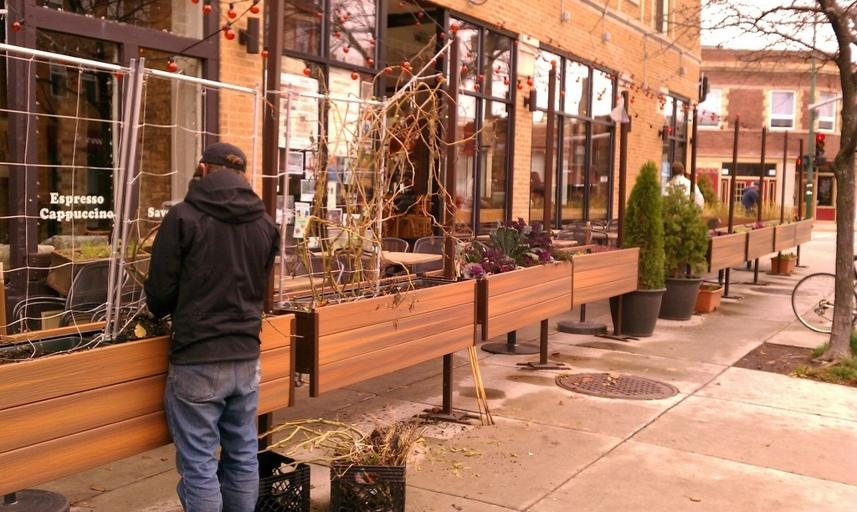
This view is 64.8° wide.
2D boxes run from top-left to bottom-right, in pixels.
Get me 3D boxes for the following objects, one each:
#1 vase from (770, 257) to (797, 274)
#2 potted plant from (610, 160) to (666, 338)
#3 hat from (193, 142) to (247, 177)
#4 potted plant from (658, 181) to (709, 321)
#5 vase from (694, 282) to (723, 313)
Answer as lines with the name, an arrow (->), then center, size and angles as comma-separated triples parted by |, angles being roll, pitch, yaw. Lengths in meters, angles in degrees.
vase -> 8.806, 0.208, 16.754 | 0.405, 0.269, 0.646 | 0, 0, 36
potted plant -> 3.158, -0.117, 10.027 | 0.726, 2.537, 1.040 | 5, 12, 20
hat -> -1.450, -0.656, 4.689 | 0.315, 0.171, 0.228 | 7, 5, 16
potted plant -> 4.055, -0.034, 10.867 | 0.907, 2.190, 0.529 | -3, 12, -20
vase -> 4.931, 0.721, 11.870 | 0.413, 0.263, 0.619 | 6, 13, 36
